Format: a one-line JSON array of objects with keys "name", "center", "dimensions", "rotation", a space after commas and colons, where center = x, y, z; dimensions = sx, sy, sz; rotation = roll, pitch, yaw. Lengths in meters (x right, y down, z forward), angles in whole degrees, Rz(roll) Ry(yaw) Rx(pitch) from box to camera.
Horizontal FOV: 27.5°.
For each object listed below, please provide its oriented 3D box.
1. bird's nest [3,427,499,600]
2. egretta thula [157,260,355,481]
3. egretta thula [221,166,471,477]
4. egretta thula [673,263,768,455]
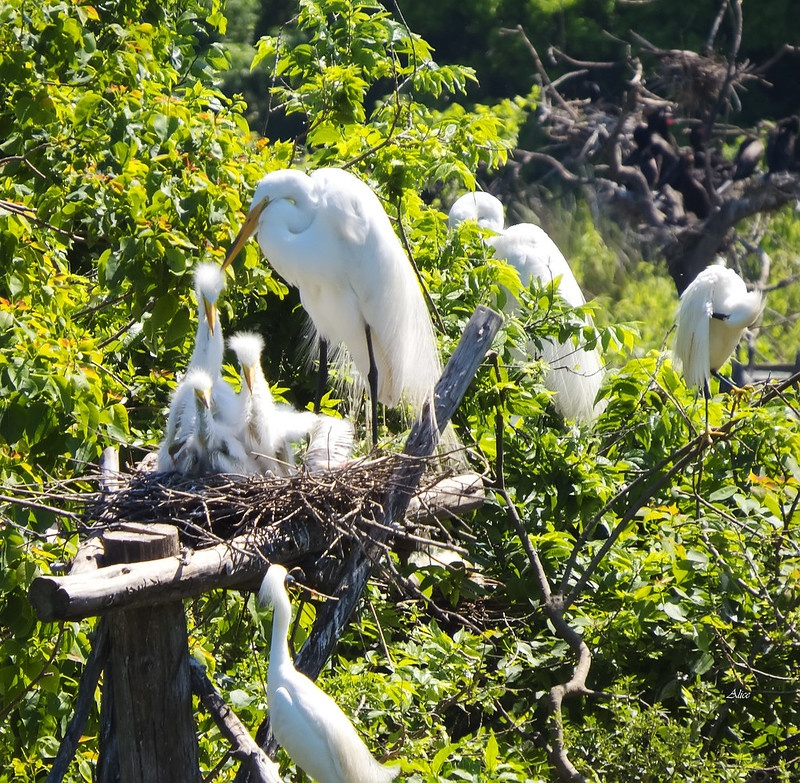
[{"name": "bird's nest", "center": [-0.571, 0.523, 5.982], "dimensions": [0.865, 0.725, 1.515], "rotation": [8, 9, 39]}, {"name": "egretta thula", "center": [-0.666, -0.068, 6.788], "dimensions": [0.704, 0.937, 0.856], "rotation": [-2, -6, -22]}, {"name": "egretta thula", "center": [-0.242, -0.522, 7.599], "dimensions": [0.804, 1.591, 1.162], "rotation": [4, 11, 27]}, {"name": "egretta thula", "center": [1.888, -0.404, 9.888], "dimensions": [0.518, 0.798, 0.687], "rotation": [2, -6, 0]}]
